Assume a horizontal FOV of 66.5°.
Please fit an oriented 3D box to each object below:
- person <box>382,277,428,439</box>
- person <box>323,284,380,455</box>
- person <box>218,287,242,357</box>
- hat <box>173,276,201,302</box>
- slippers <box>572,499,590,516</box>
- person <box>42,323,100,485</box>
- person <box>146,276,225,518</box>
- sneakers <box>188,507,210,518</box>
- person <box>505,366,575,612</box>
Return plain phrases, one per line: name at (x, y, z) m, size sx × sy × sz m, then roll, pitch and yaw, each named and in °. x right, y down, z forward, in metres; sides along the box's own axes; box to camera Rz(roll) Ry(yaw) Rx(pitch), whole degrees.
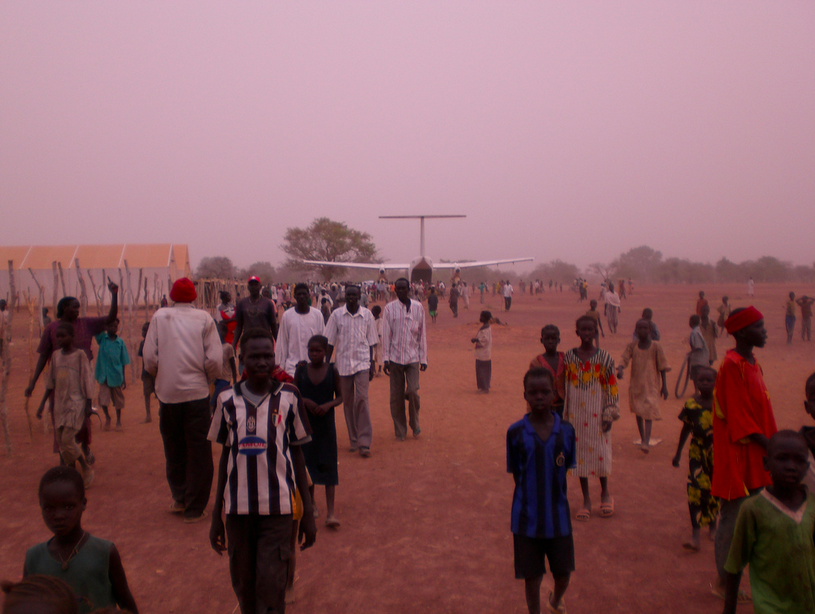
person at (-0.031, 0.776, 10.144) m, size 0.698 × 2.546 × 1.478 m, roll -1°, pitch 2°, yaw 0°
person at (-0.808, 0.831, 9.009) m, size 0.738 × 2.337 × 0.778 m, roll 2°, pitch 14°, yaw 20°
person at (-2.742, 0.285, 9.783) m, size 0.290 × 1.022 × 0.211 m, roll -6°, pitch 42°, yaw -7°
hat at (-2.449, -0.213, 6.901) m, size 0.222 × 0.284 × 0.302 m, roll 2°, pitch 7°, yaw -32°
slippers at (1.907, 2.170, 6.779) m, size 0.126 × 0.070 × 0.190 m, roll -22°, pitch 11°, yaw 29°
person at (-4.028, 1.173, 7.537) m, size 0.524 × 2.065 × 0.572 m, roll -2°, pitch 2°, yaw -31°
person at (-2.375, 0.963, 6.787) m, size 0.764 × 2.604 × 0.494 m, roll -1°, pitch 2°, yaw 10°
sneakers at (-2.239, 2.213, 6.741) m, size 0.224 × 0.112 × 0.082 m, roll -8°, pitch 6°, yaw -19°
person at (1.024, 1.412, 4.781) m, size 0.501 × 1.938 × 0.374 m, roll -1°, pitch 2°, yaw 9°
